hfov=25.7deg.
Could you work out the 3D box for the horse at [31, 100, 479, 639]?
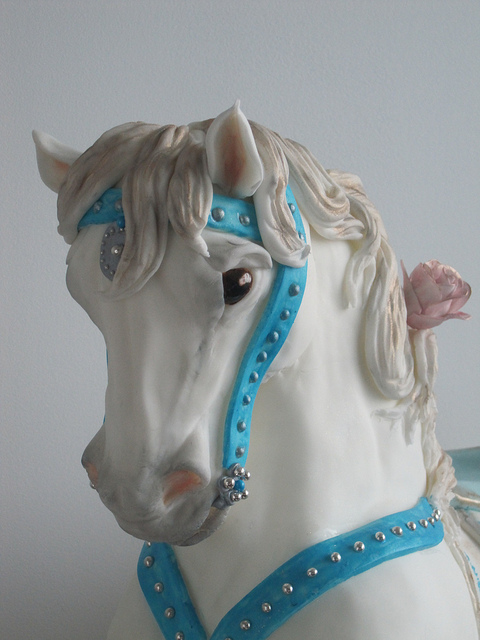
[{"bbox_3d":[0.021,0.082,1.274,0.379,0.579,0.587,-15,-30,38],"label":"horse"}]
